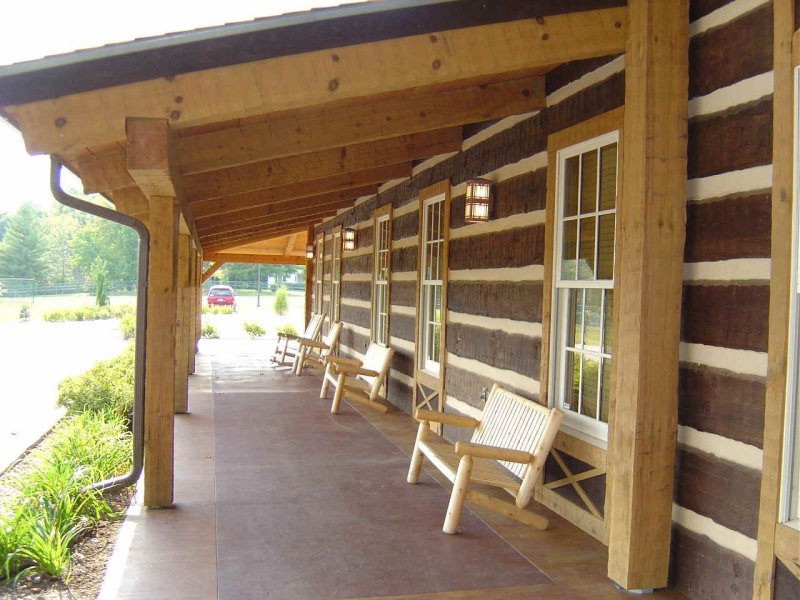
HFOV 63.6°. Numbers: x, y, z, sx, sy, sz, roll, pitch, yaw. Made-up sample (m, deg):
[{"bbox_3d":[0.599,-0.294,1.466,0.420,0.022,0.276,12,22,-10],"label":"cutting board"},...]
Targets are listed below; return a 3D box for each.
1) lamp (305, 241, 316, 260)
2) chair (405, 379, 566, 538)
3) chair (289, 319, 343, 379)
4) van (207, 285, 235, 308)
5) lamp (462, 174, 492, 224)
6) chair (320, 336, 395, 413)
[{"bbox_3d":[-2.029,-1.134,14.835,0.291,0.613,0.310,1,1,-8],"label":"lamp"},{"bbox_3d":[0.601,1.135,4.868,0.817,0.881,1.205,3,2,-20],"label":"chair"},{"bbox_3d":[-1.400,0.722,10.990,0.722,0.956,0.694,6,12,-27],"label":"chair"},{"bbox_3d":[-8.978,-0.248,32.677,0.897,0.914,1.744,-1,10,-12],"label":"van"},{"bbox_3d":[0.708,-0.907,5.756,0.302,0.524,0.312,1,0,-5],"label":"lamp"},{"bbox_3d":[-0.556,0.958,8.241,0.737,0.863,0.975,6,1,-23],"label":"chair"}]
